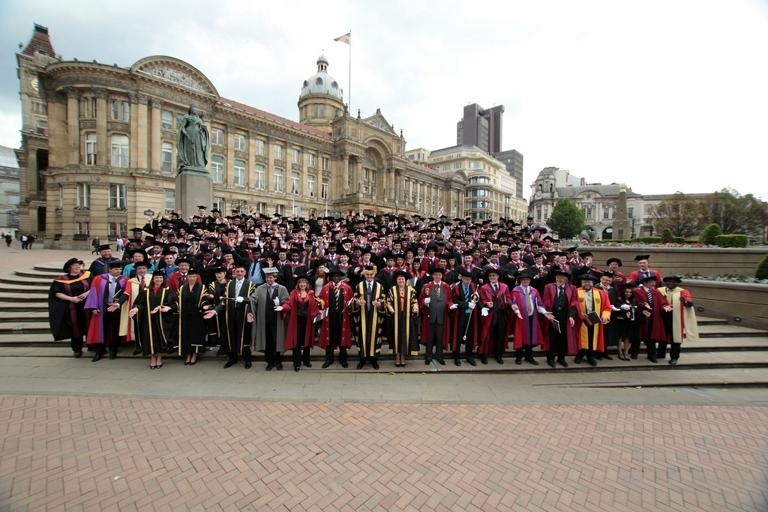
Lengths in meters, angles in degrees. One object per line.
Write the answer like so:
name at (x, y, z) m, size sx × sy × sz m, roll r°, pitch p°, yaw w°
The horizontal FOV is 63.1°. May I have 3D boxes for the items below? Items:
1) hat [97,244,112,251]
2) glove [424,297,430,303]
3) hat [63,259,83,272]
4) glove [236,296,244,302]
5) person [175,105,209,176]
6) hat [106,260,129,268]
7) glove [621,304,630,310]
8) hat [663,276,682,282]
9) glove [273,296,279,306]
hat at (-12.281, -0.364, 27.445) m, size 0.518 × 0.200 × 0.632 m, roll -2°, pitch -3°, yaw 4°
glove at (1.517, 1.591, 21.894) m, size 0.151 × 0.270 × 0.208 m, roll 11°, pitch 18°, yaw 35°
hat at (-11.242, 0.311, 22.319) m, size 0.586 × 0.202 × 0.496 m, roll -14°, pitch -7°, yaw 27°
glove at (-4.969, 1.522, 21.625) m, size 0.267 × 0.185 × 0.145 m, roll 1°, pitch 15°, yaw 5°
person at (-9.223, -5.537, 29.971) m, size 1.582 × 3.077 × 1.113 m, roll -12°, pitch 19°, yaw -40°
hat at (-9.559, 0.315, 22.250) m, size 0.360 × 0.235 × 0.339 m, roll 1°, pitch -4°, yaw -7°
glove at (8.549, 1.830, 22.114) m, size 0.227 × 0.094 × 0.215 m, roll -3°, pitch 8°, yaw 16°
hat at (10.340, 0.844, 22.359) m, size 0.452 × 0.105 × 0.427 m, roll 4°, pitch -3°, yaw 2°
glove at (-3.670, 1.554, 21.496) m, size 0.210 × 0.243 × 0.199 m, roll 5°, pitch 15°, yaw 20°
